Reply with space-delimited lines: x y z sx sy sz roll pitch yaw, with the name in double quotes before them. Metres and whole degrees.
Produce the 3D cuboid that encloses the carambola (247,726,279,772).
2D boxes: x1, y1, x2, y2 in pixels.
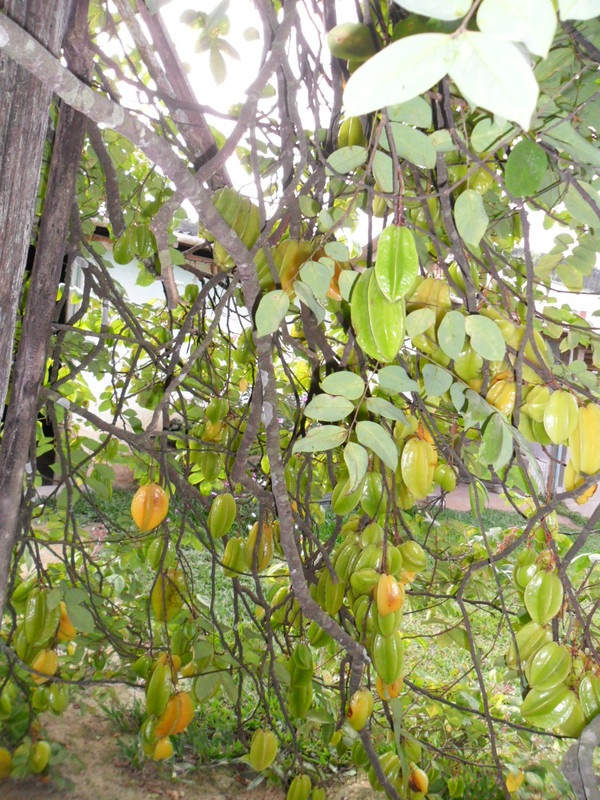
"carambola" -0.067 0.617 1.102 0.044 0.072 0.064 15 -21 4
